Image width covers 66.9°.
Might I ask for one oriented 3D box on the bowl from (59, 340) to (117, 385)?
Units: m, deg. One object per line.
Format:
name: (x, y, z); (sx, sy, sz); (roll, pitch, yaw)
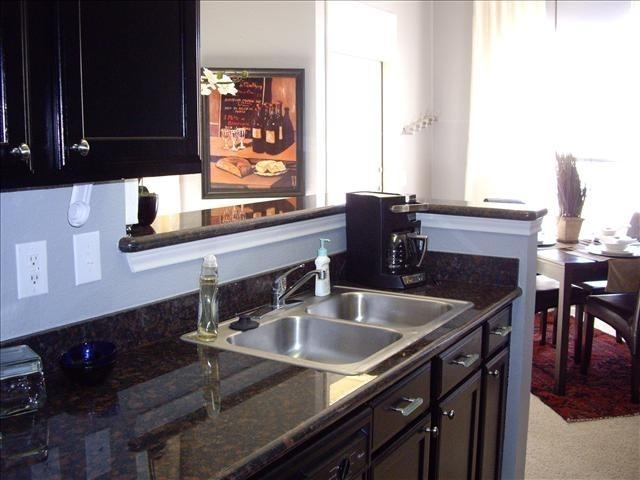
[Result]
bowl: (-0.596, 0.310, 1.243); (0.128, 0.099, 0.125); (4, 11, -1)

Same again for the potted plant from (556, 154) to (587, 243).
potted plant: (1.995, -0.309, 3.882); (0.285, 0.678, 0.269); (0, 6, -15)

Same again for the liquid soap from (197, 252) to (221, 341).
liquid soap: (-0.357, 0.181, 1.523); (0.079, 0.250, 0.057); (17, 18, 41)

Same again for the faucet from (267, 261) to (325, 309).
faucet: (-0.094, 0.177, 1.861); (0.256, 0.158, 0.162); (-16, -26, 19)

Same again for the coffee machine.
coffee machine: (0.311, -0.017, 2.224); (0.307, 0.481, 0.251); (-6, 18, -35)

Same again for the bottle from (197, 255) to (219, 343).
bottle: (-0.363, 0.186, 1.522); (0.079, 0.250, 0.058); (17, 18, 40)

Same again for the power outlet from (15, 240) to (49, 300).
power outlet: (-0.734, 0.073, 1.233); (0.016, 0.140, 0.090); (8, 14, 30)
